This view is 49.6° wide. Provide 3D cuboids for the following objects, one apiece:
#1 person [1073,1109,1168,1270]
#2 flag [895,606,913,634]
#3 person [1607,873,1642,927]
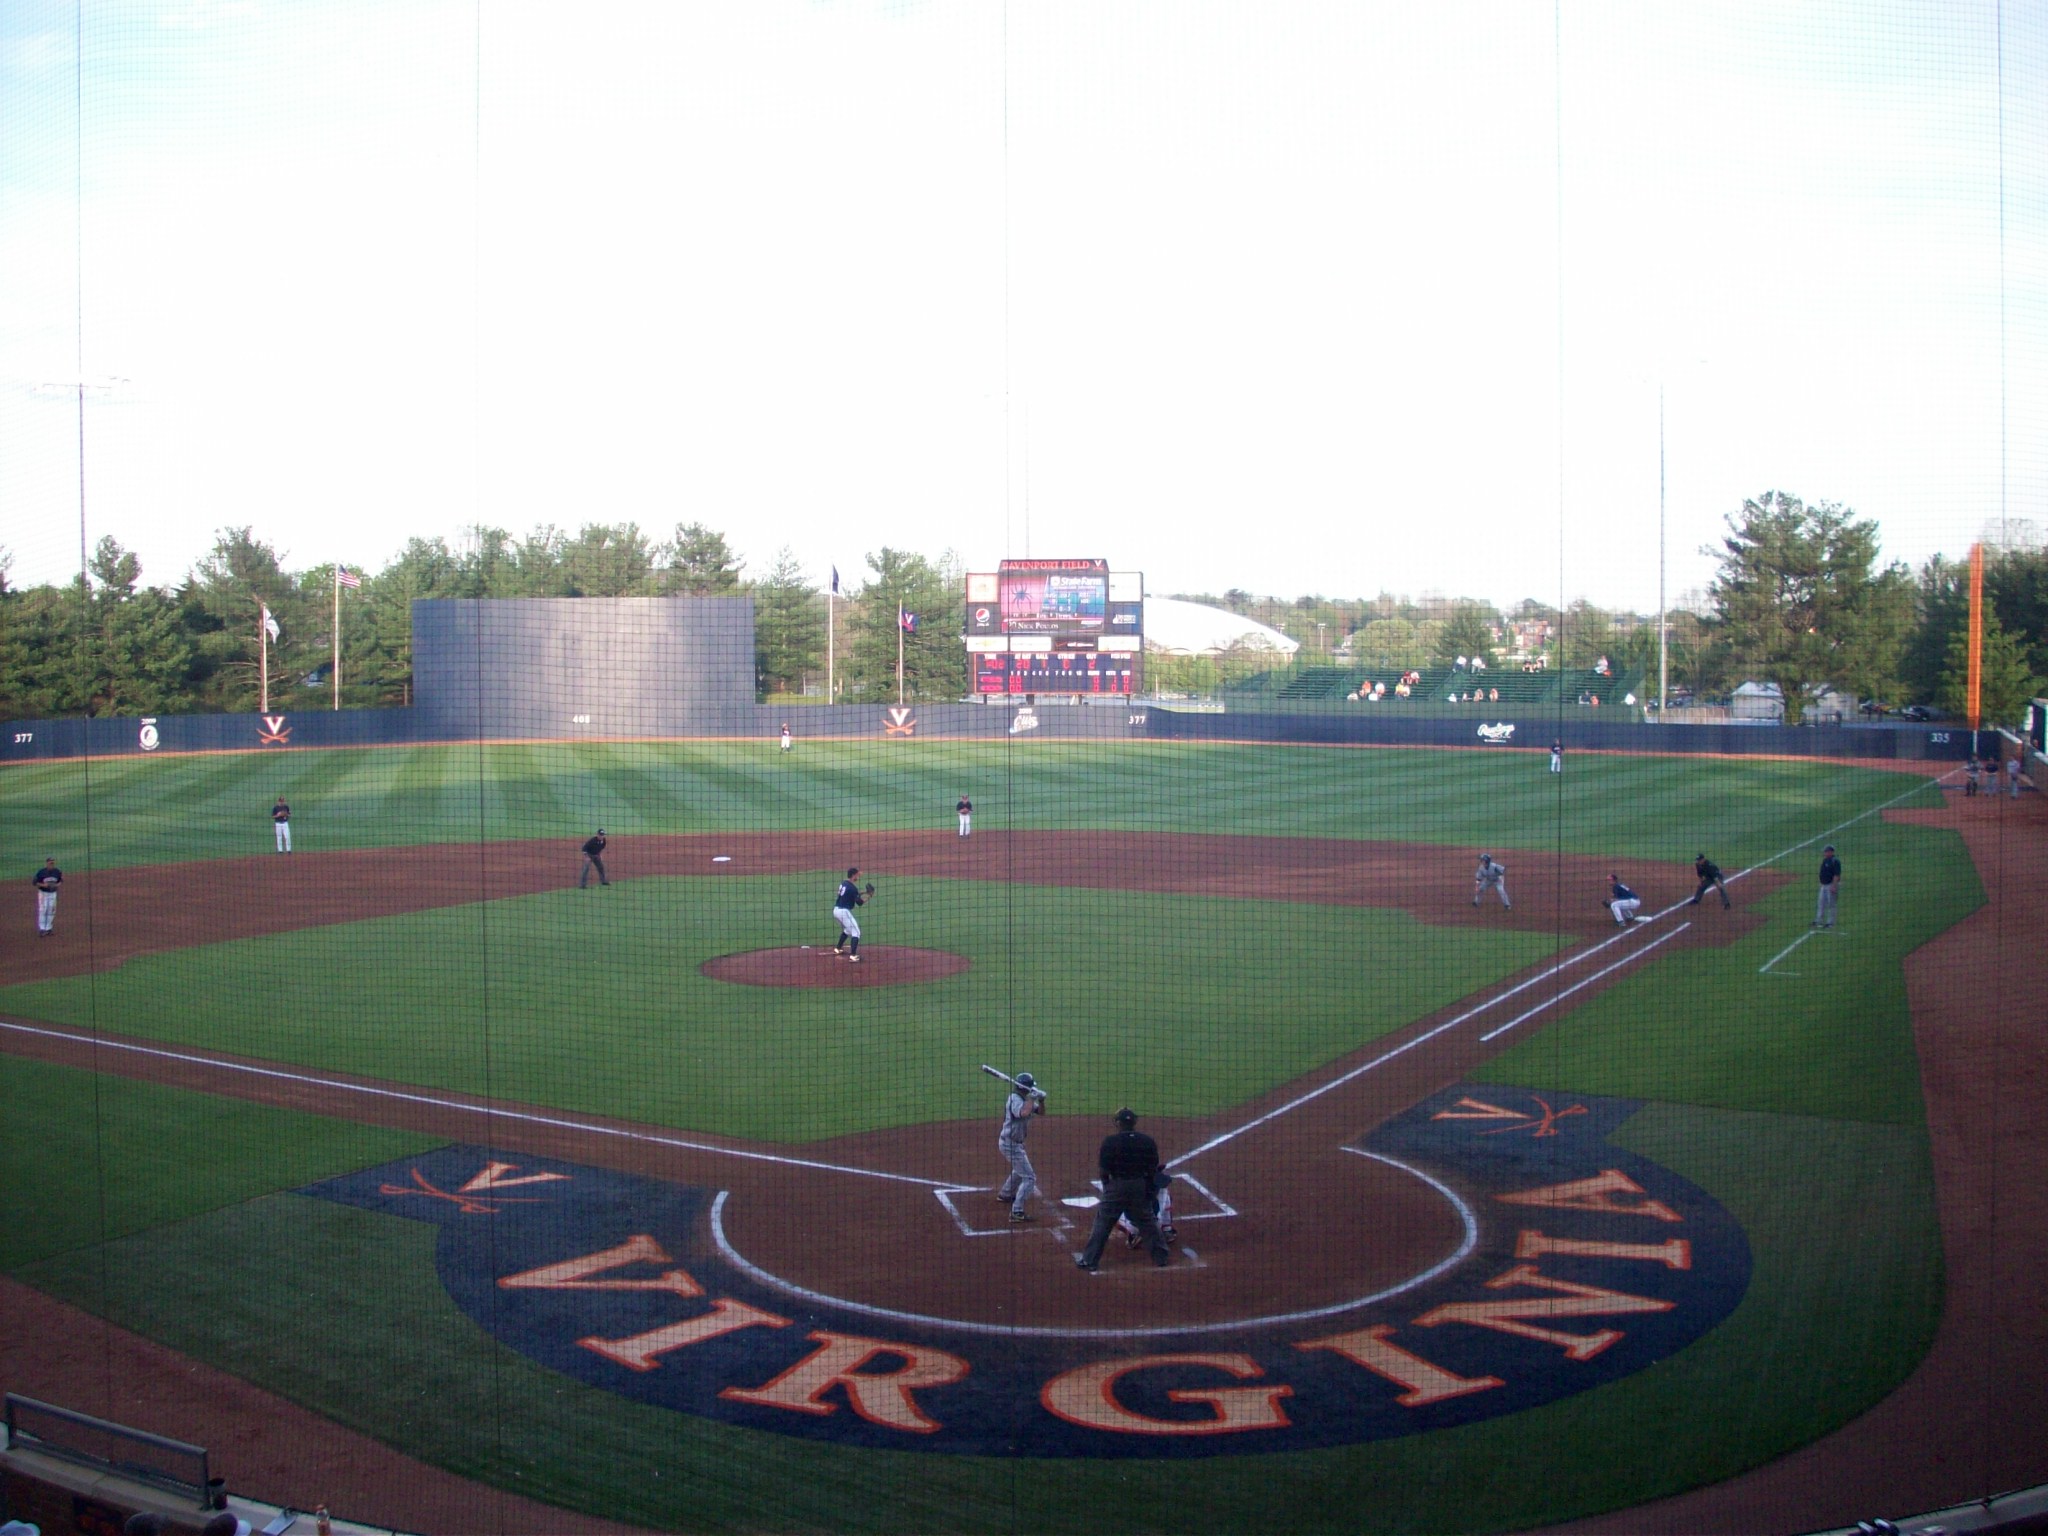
[{"bbox_3d":[0.985,4.072,21.971,0.868,1.543,0.823,0,10,1],"label":"person"},{"bbox_3d":[-3.686,-4.686,68.792,0.334,0.647,0.909,0,-8,2],"label":"flag"},{"bbox_3d":[9.674,2.064,35.735,0.542,0.710,1.136,2,10,13],"label":"person"}]
